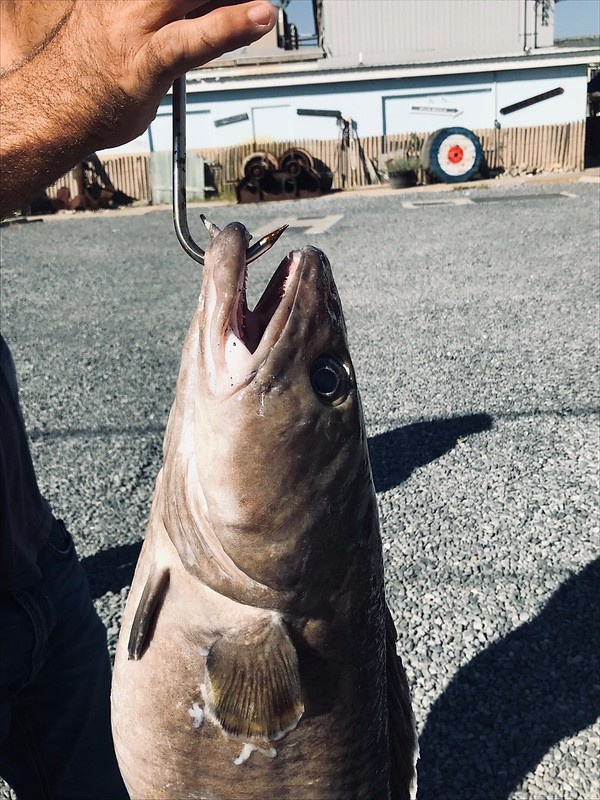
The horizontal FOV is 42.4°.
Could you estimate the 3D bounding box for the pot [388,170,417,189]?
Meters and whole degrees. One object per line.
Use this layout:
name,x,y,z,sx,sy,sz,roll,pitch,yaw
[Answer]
pot,2.356,-4.990,17.489,0.657,0.390,0.474,-4,17,-3
